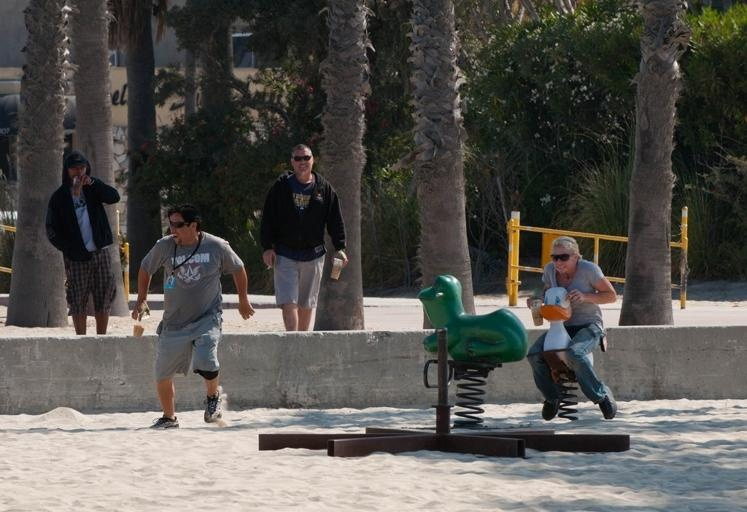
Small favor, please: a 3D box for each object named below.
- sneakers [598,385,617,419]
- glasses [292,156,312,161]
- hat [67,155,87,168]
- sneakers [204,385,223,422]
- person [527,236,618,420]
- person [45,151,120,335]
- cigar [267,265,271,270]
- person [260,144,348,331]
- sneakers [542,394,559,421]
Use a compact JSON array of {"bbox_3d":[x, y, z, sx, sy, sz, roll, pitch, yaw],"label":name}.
[{"bbox_3d":[3.661,2.237,28.816,0.196,0.565,0.232,-14,2,43],"label":"sneakers"},{"bbox_3d":[-1.079,-1.575,30.186,0.280,0.090,0.123,-1,-4,-3],"label":"glasses"},{"bbox_3d":[-4.704,-1.548,30.315,0.336,0.250,0.226,0,-4,-8],"label":"hat"},{"bbox_3d":[-2.393,2.256,28.935,0.273,0.262,0.686,-1,22,2],"label":"sneakers"},{"bbox_3d":[3.104,1.058,28.927,1.283,2.823,0.664,-1,-4,5],"label":"person"},{"bbox_3d":[-4.612,-0.230,30.411,1.122,2.909,0.556,0,-4,-10],"label":"person"},{"bbox_3d":[-1.901,0.177,35.648,0.116,0.112,0.031,8,-31,-16],"label":"cigar"},{"bbox_3d":[-1.097,-0.306,30.371,1.257,2.947,0.685,1,-4,-29],"label":"person"},{"bbox_3d":[2.772,2.275,28.968,0.168,0.384,0.178,11,13,21],"label":"sneakers"}]
